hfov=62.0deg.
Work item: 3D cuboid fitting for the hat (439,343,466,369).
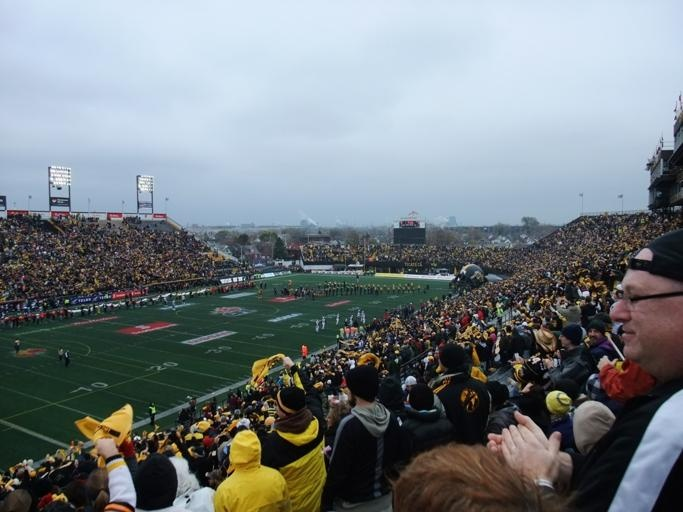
[{"bbox_3d":[1.396,1.243,7.126,0.247,0.271,0.344,2,7,8],"label":"hat"}]

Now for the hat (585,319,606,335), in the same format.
[{"bbox_3d":[3.772,1.042,8.373,0.276,0.218,0.245,18,-7,-29],"label":"hat"}]

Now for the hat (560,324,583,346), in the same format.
[{"bbox_3d":[3.332,1.108,8.193,0.232,0.262,0.311,-7,11,-14],"label":"hat"}]

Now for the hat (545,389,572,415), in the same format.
[{"bbox_3d":[2.379,1.595,6.246,0.265,0.240,0.222,-9,-23,18],"label":"hat"}]

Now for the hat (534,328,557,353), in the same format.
[{"bbox_3d":[3.271,1.354,9.111,0.298,0.406,0.476,1,3,20],"label":"hat"}]

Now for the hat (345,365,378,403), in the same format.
[{"bbox_3d":[0.224,1.360,6.140,0.350,0.380,0.242,0,3,-1],"label":"hat"}]

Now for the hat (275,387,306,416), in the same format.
[{"bbox_3d":[-0.576,1.577,6.267,0.313,0.253,0.251,-4,27,-16],"label":"hat"}]

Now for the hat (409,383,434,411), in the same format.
[{"bbox_3d":[0.907,1.592,6.453,0.235,0.291,0.317,1,-1,8],"label":"hat"}]
